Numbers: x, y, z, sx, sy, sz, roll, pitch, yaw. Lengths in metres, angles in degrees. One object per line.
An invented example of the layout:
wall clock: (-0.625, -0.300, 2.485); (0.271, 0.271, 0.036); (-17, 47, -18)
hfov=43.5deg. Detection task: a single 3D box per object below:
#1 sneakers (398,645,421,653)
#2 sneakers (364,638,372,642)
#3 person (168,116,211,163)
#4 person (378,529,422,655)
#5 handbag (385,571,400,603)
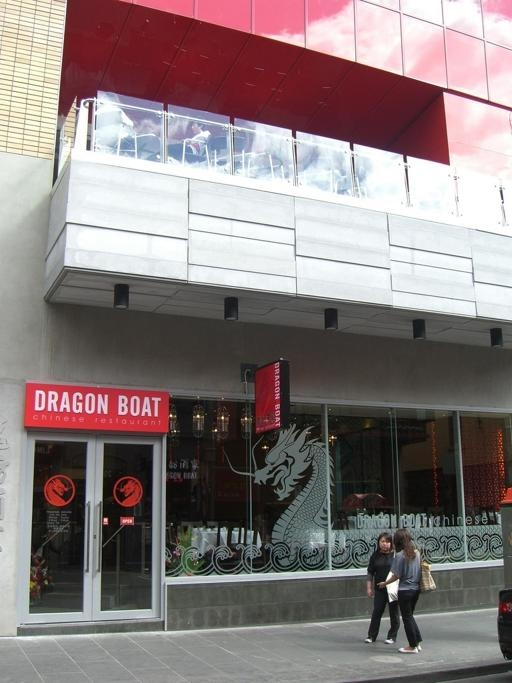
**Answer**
sneakers: (1.821, 3.656, 7.580); (0.191, 0.077, 0.107); (4, -17, 3)
sneakers: (1.441, 3.850, 8.220); (0.074, 0.059, 0.130); (-1, -25, 8)
person: (-0.918, -2.743, 8.777); (0.662, 0.801, 0.162); (6, -16, -30)
person: (1.792, 3.026, 7.756); (0.476, 1.404, 0.405); (-5, -14, 12)
handbag: (1.697, 3.096, 7.954); (0.091, 0.357, 0.386); (5, -6, 21)
